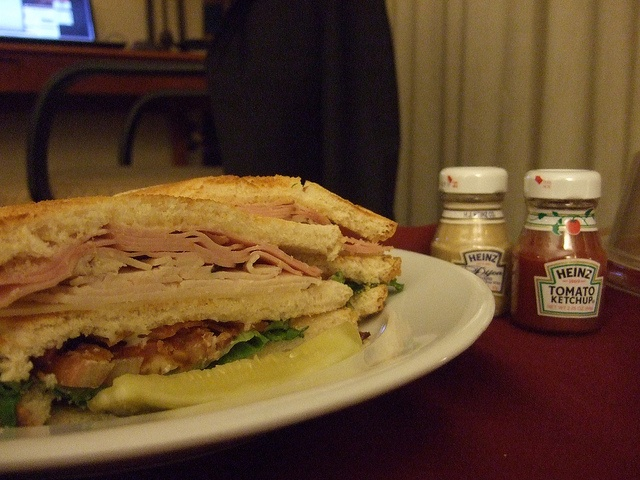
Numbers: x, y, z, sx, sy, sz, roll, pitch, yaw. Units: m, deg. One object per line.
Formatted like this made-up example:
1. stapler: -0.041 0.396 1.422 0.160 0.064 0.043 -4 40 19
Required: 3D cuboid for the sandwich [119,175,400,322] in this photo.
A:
1. sandwich: -0.121 0.083 1.773 0.635 0.244 0.505 13 9 -3
